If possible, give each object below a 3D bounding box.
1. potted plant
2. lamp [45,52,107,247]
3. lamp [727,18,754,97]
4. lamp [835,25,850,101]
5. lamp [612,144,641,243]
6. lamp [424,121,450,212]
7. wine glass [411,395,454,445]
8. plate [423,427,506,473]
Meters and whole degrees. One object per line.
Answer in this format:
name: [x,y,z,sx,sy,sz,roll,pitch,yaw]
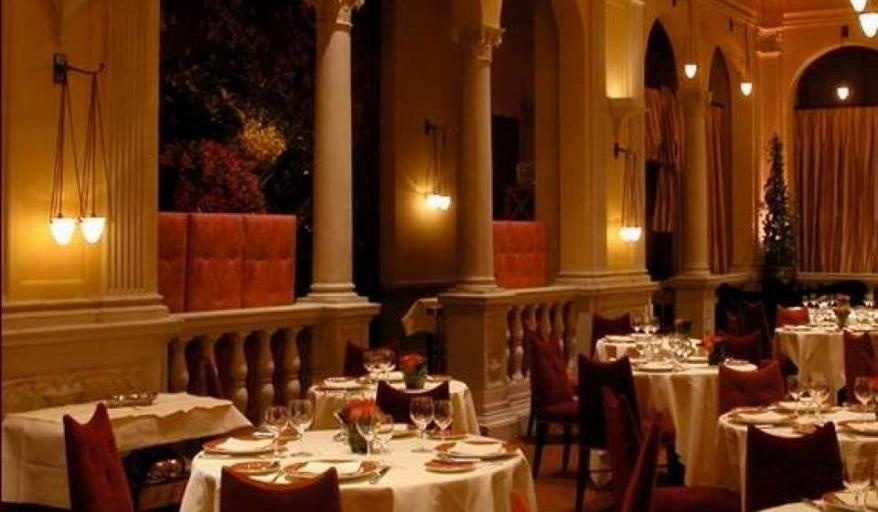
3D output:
potted plant: [7.247,-0.964,15.777,0.891,3.446,0.669,-5,-1,-33]
lamp: [-3.056,-0.901,6.213,0.533,1.478,0.166,-5,-1,-42]
lamp: [6.282,-4.118,15.177,0.347,1.675,1.493,-6,-1,32]
lamp: [8.876,-4.229,16.080,0.295,1.652,0.794,-6,-1,24]
lamp: [2.913,-0.995,11.287,0.556,1.544,0.209,-5,-1,-36]
lamp: [0.001,-1.543,12.477,0.262,1.534,0.590,-6,-1,43]
wine glass: [-0.033,1.115,5.140,0.318,0.494,0.293,0,0,0]
plate: [0.182,1.314,4.932,0.520,0.115,0.620,-7,-2,4]
